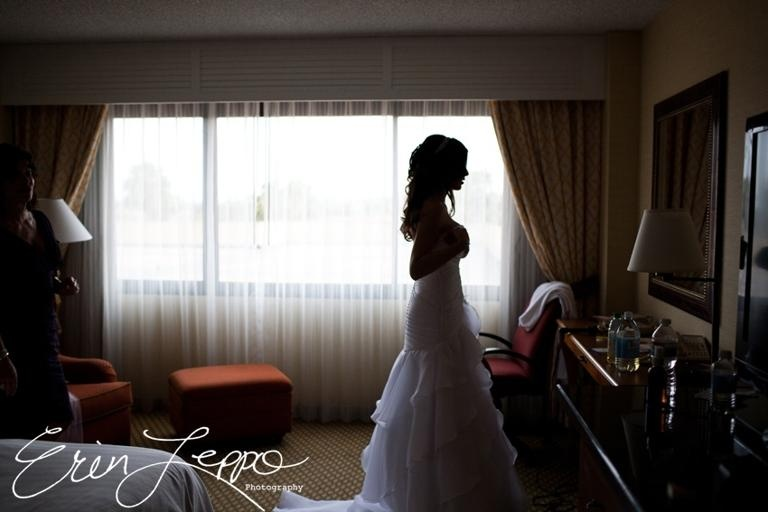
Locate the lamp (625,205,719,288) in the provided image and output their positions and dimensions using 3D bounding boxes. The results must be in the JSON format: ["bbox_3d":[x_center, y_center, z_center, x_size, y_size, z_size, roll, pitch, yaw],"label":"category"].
[{"bbox_3d":[1.785,-0.038,3.520,0.405,0.500,0.498,9,-13,-13],"label":"lamp"}]

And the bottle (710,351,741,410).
[{"bbox_3d":[1.724,0.617,2.874,0.117,0.269,0.255,4,5,33],"label":"bottle"}]

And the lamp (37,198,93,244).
[{"bbox_3d":[-2.698,-0.296,4.900,0.362,0.320,0.433,-8,21,11],"label":"lamp"}]

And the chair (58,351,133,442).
[{"bbox_3d":[-2.283,1.143,4.663,0.631,0.760,0.515,0,1,24],"label":"chair"}]
